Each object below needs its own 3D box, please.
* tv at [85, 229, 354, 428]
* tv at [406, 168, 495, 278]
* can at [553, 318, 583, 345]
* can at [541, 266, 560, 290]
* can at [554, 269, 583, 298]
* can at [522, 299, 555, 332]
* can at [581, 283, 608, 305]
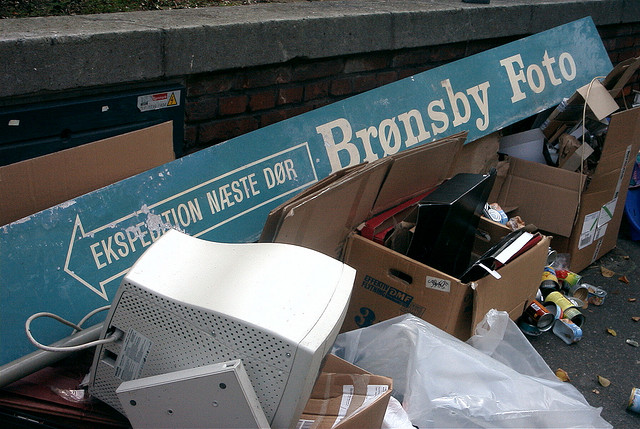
[{"bbox_3d":[-0.419,0.460,2.342,0.869,0.681,0.855,25,20,-2],"label":"tv"},{"bbox_3d":[0.778,0.073,3.128,0.216,0.660,0.556,29,21,24],"label":"tv"},{"bbox_3d":[1.653,0.777,3.512,0.095,0.121,0.168,-1,31,-29],"label":"can"},{"bbox_3d":[1.626,0.455,3.712,0.115,0.125,0.193,-14,24,23],"label":"can"},{"bbox_3d":[1.812,0.481,3.844,0.200,0.079,0.142,43,41,16],"label":"can"},{"bbox_3d":[1.454,0.681,3.502,0.116,0.116,0.183,-40,47,-7],"label":"can"},{"bbox_3d":[2.024,0.586,3.851,0.192,0.067,0.113,8,28,18],"label":"can"}]
